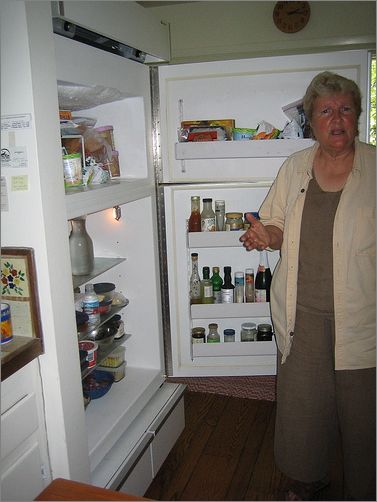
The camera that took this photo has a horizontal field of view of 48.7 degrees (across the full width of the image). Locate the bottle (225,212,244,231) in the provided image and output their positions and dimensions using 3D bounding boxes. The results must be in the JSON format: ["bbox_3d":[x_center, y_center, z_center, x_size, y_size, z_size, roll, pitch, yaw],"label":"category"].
[{"bbox_3d":[0.229,-0.147,2.048,0.090,0.090,0.087,1,9,12],"label":"bottle"}]

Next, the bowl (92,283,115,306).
[{"bbox_3d":[-0.352,0.178,1.690,0.070,0.051,0.071,1,0,0],"label":"bowl"}]

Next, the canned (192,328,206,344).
[{"bbox_3d":[0.057,0.451,2.216,0.070,0.087,0.075,0,1,-4],"label":"canned"}]

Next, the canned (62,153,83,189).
[{"bbox_3d":[-0.344,-0.241,1.232,0.083,0.086,0.081,-7,4,-21],"label":"canned"}]

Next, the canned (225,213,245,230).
[{"bbox_3d":[0.229,-0.147,2.049,0.088,0.088,0.085,3,7,30],"label":"canned"}]

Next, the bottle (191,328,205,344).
[{"bbox_3d":[0.055,0.452,2.215,0.075,0.081,0.073,0,-1,-1],"label":"bottle"}]

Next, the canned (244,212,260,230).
[{"bbox_3d":[0.305,-0.152,2.045,0.098,0.105,0.102,-1,8,2],"label":"canned"}]

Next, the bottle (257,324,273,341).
[{"bbox_3d":[0.409,0.433,2.209,0.063,0.093,0.095,-2,5,-3],"label":"bottle"}]

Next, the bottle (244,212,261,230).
[{"bbox_3d":[0.305,-0.147,2.052,0.103,0.111,0.107,0,11,4],"label":"bottle"}]

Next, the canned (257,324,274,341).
[{"bbox_3d":[0.408,0.434,2.209,0.066,0.086,0.093,-1,4,4],"label":"canned"}]

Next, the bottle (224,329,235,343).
[{"bbox_3d":[0.224,0.456,2.223,0.065,0.068,0.064,0,7,3],"label":"bottle"}]

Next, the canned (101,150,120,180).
[{"bbox_3d":[-0.285,-0.326,1.578,0.088,0.133,0.087,-2,13,-4],"label":"canned"}]
